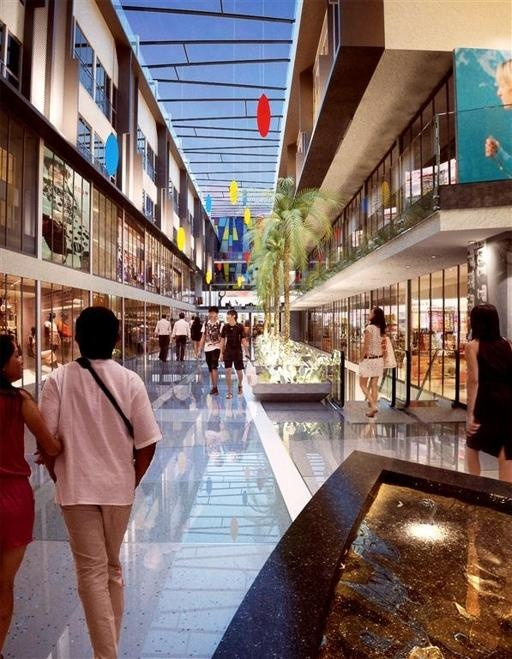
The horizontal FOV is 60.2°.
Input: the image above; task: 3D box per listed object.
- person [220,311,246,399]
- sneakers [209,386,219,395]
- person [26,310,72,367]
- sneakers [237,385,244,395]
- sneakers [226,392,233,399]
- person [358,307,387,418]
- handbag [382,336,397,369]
[{"bbox_3d":[-0.531,0.558,10.291,0.521,1.432,2.099,0,0,-2],"label":"person"},{"bbox_3d":[-0.985,1.435,10.373,0.168,0.116,0.321,1,0,-7],"label":"sneakers"},{"bbox_3d":[-6.269,0.267,13.292,0.917,2.643,1.057,-1,7,-2],"label":"person"},{"bbox_3d":[-0.385,1.464,10.812,0.146,0.232,0.481,0,3,0],"label":"sneakers"},{"bbox_3d":[-0.602,1.459,9.889,0.145,0.093,0.264,1,0,-4],"label":"sneakers"},{"bbox_3d":[2.146,0.592,8.125,0.431,1.845,0.898,0,0,20],"label":"person"},{"bbox_3d":[2.646,0.458,8.778,0.178,0.668,0.550,-4,2,5],"label":"handbag"}]
